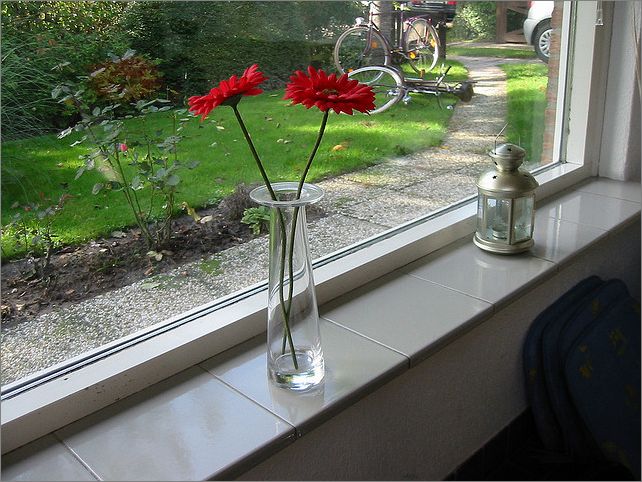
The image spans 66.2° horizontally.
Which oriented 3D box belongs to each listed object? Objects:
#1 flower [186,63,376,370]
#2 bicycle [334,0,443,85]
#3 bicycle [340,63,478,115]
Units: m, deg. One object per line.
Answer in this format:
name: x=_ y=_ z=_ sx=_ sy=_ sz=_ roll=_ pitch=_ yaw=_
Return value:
flower: x=-0.063 y=-0.074 z=1.022 sx=0.314 sy=0.575 sz=0.419 roll=-11 pitch=31 yaw=-10
bicycle: x=0.192 y=-0.558 z=1.354 sx=0.189 sy=0.221 sz=0.443 roll=17 pitch=34 yaw=42
bicycle: x=0.241 y=-0.432 z=1.487 sx=0.411 sy=0.115 sz=0.262 roll=-10 pitch=27 yaw=-35
